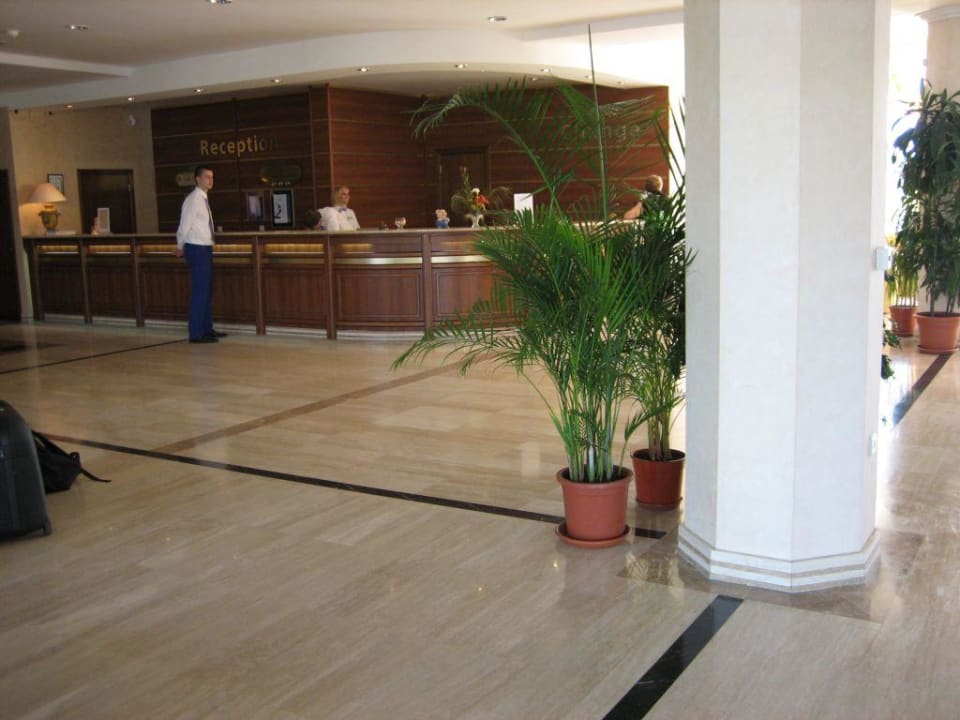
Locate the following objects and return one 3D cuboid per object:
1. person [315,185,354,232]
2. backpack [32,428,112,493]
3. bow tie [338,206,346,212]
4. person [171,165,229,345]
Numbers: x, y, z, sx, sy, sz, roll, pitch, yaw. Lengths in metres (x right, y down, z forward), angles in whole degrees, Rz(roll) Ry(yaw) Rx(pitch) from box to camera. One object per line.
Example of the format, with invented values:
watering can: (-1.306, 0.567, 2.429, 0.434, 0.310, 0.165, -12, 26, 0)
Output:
person: (-2.182, -2.330, 10.108, 0.458, 0.744, 0.798, 1, 12, 16)
backpack: (-2.581, 0.635, 3.956, 0.459, 0.180, 0.341, 23, 33, -46)
bow tie: (-2.148, -2.343, 10.041, 0.088, 0.066, 0.088, 0, 3, 2)
person: (-3.945, -1.439, 9.058, 0.561, 2.349, 0.438, -9, 12, -24)
